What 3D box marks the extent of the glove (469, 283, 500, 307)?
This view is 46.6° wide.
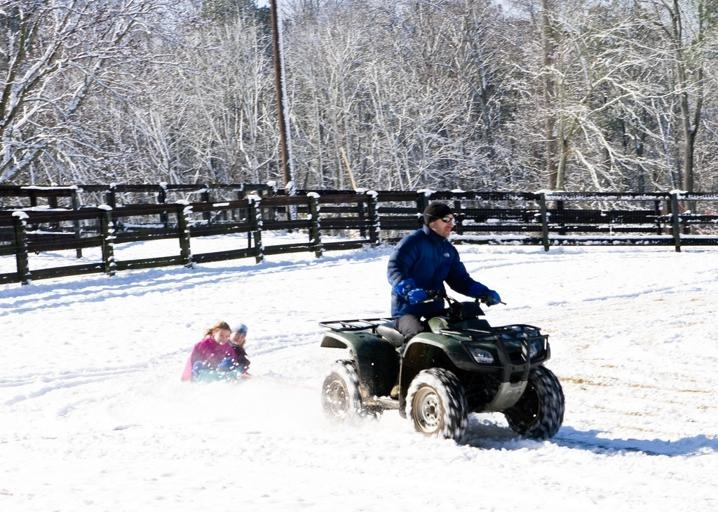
[{"bbox_3d":[1.536,0.466,10.161,0.372,0.137,0.231,25,1,6],"label":"glove"}]

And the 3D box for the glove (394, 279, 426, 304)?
[{"bbox_3d":[0.579,0.447,9.701,0.316,0.121,0.313,34,38,16],"label":"glove"}]

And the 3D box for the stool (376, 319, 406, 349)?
[{"bbox_3d":[0.371,0.938,10.001,0.180,0.324,0.517,-6,11,-17],"label":"stool"}]

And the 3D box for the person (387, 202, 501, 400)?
[{"bbox_3d":[0.884,0.146,10.058,1.255,1.532,0.766,-10,14,-37],"label":"person"}]

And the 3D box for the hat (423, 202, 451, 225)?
[{"bbox_3d":[0.966,-0.551,10.201,0.297,0.226,0.289,-20,1,21],"label":"hat"}]
